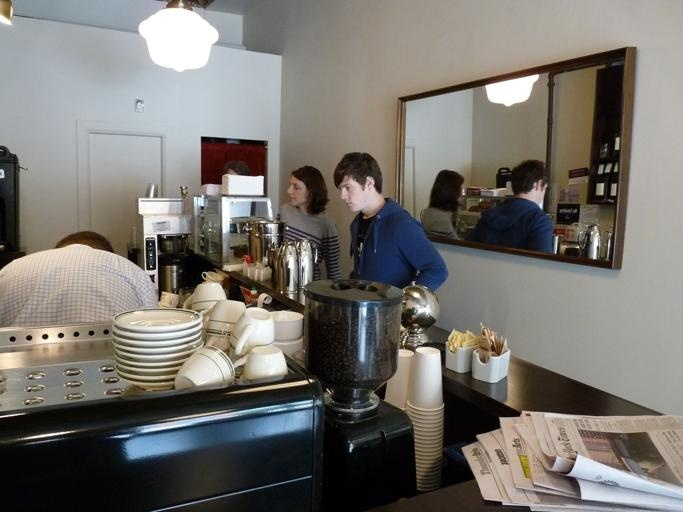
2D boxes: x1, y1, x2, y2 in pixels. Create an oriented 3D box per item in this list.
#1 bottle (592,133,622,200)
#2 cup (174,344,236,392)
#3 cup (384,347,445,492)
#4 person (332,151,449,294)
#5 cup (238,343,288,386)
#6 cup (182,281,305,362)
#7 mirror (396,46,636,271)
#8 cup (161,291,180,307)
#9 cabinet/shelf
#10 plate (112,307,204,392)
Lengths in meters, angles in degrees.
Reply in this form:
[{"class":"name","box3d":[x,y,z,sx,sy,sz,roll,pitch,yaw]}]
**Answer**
[{"class":"bottle","box3d":[1.360,-0.442,2.546,0.028,0.339,0.132,-6,11,-35]},{"class":"cup","box3d":[-0.292,0.247,1.069,0.126,0.080,0.107,-1,10,-14]},{"class":"cup","box3d":[0.234,0.457,1.413,0.190,0.382,0.215,-1,9,-11]},{"class":"person","box3d":[0.223,-0.190,2.760,0.306,0.742,0.715,-7,12,-40]},{"class":"cup","box3d":[-0.175,0.235,1.129,0.105,0.065,0.177,0,10,-8]},{"class":"cup","box3d":[-0.287,0.195,1.498,0.179,0.131,0.200,15,24,25]},{"class":"mirror","box3d":[0.890,-0.585,3.200,0.075,1.116,1.785,4,4,-37]},{"class":"cup","box3d":[-0.740,0.186,2.118,0.075,0.060,0.078,3,-5,0]},{"class":"cabinet/shelf","box3d":[-0.867,-0.208,3.664,0.734,0.493,0.458,10,13,42]},{"class":"plate","box3d":[-0.424,0.200,1.161,0.177,0.127,0.165,-1,4,-43]}]
